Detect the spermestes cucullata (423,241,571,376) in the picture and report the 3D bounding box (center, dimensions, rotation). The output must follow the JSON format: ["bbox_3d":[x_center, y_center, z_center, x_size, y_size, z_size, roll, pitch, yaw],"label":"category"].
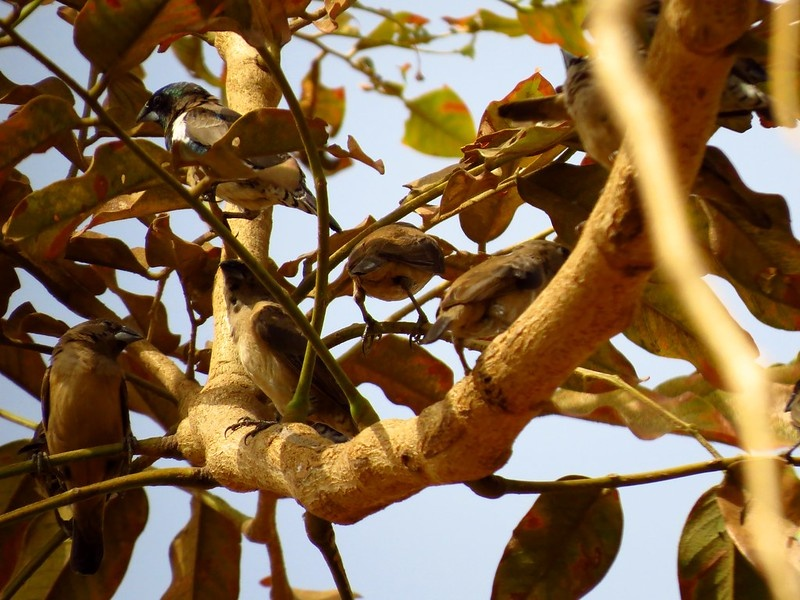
[{"bbox_3d":[0.359,-0.005,5.638,0.798,0.553,0.346,11,-18,-38],"label":"spermestes cucullata"}]
